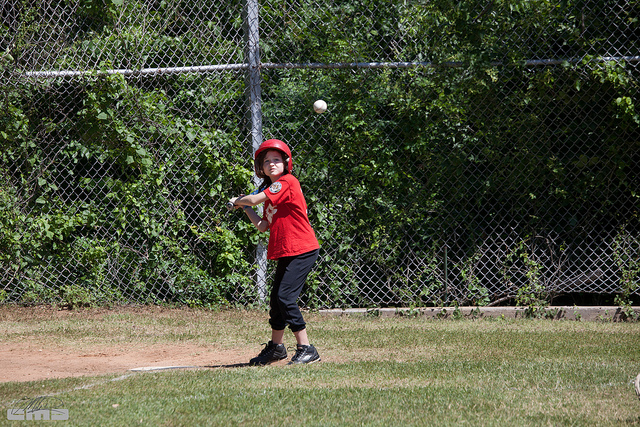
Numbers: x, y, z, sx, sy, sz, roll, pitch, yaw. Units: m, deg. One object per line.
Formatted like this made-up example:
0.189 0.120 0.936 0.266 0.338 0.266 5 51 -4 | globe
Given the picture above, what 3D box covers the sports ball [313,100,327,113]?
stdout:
-0.006 -1.268 9.095 0.142 0.143 0.140 3 33 -2 | sports ball
